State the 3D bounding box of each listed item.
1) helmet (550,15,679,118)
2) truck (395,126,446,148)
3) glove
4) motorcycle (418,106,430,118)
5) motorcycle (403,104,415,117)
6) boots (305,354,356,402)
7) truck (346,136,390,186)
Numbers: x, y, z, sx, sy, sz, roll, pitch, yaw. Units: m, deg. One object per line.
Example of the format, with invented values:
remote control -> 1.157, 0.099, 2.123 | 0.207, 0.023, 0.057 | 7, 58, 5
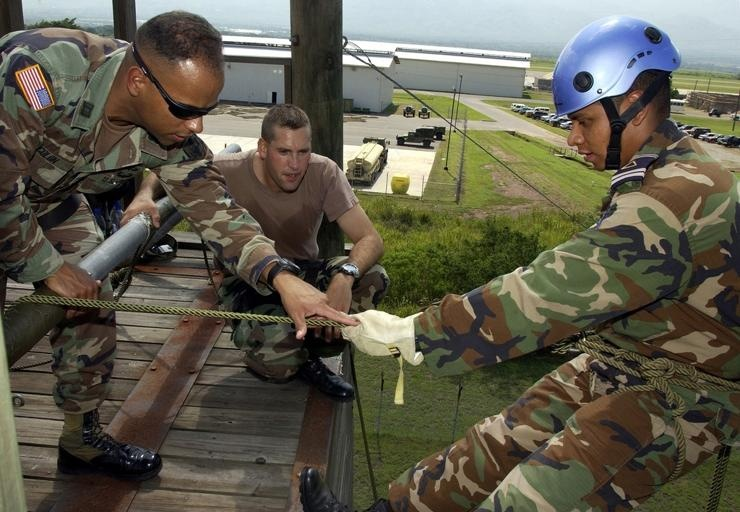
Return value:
helmet -> 1.084, -0.884, 2.525 | 0.571, 0.319, 0.421 | -19, 17, 13
truck -> 2.475, -5.843, 26.692 | 2.161, 0.866, 1.437 | -1, 20, 4
glove -> 0.062, 0.376, 2.579 | 0.321, 0.130, 0.276 | 7, -15, 36
motorcycle -> 3.536, -9.331, 35.207 | 0.660, 0.476, 1.047 | 2, 20, 2
motorcycle -> 2.568, -9.538, 35.447 | 0.719, 0.455, 1.117 | 3, 21, 3
boots -> -0.319, 0.825, 3.681 | 0.174, 0.169, 0.513 | -5, 17, -44
truck -> -0.140, -3.657, 20.703 | 1.092, 1.025, 2.851 | 10, 32, 11
